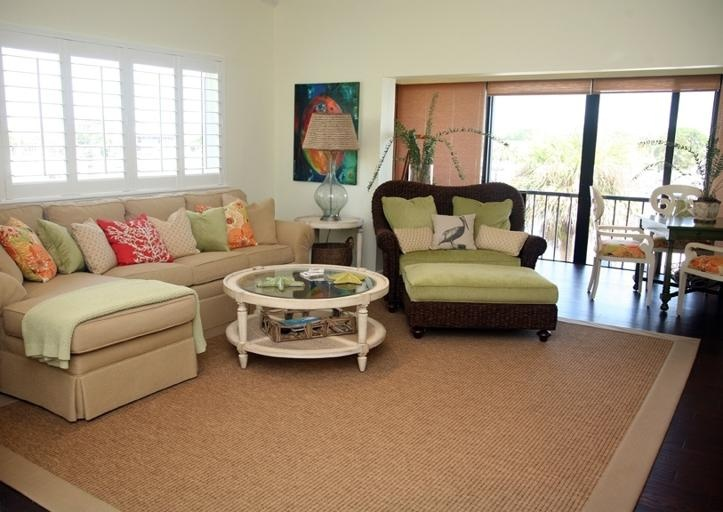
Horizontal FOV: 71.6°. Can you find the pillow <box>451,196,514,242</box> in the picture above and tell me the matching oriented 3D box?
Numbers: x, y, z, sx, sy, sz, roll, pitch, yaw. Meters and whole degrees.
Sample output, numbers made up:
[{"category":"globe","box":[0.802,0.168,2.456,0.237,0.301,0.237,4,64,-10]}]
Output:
[{"category":"pillow","box":[1.221,-0.358,5.062,0.531,0.402,0.187,3,-8,11]}]

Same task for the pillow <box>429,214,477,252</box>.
[{"category":"pillow","box":[0.910,-0.221,4.988,0.397,0.320,0.141,2,-27,1]}]

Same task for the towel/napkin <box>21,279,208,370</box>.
[{"category":"towel/napkin","box":[-1.615,0.328,3.166,0.547,0.300,0.713,11,16,37]}]

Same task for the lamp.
[{"category":"lamp","box":[-0.323,-0.965,5.424,0.556,1.119,0.559,-4,15,-4]}]

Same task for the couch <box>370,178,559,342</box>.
[{"category":"couch","box":[0.956,-0.101,4.886,1.548,1.155,1.700,-1,9,-1]}]

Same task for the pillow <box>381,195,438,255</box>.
[{"category":"pillow","box":[0.506,-0.345,5.065,0.602,0.544,0.176,-8,-17,-33]}]

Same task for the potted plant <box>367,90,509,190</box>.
[{"category":"potted plant","box":[0.790,-1.398,5.941,1.020,1.107,1.419,4,15,23]}]
